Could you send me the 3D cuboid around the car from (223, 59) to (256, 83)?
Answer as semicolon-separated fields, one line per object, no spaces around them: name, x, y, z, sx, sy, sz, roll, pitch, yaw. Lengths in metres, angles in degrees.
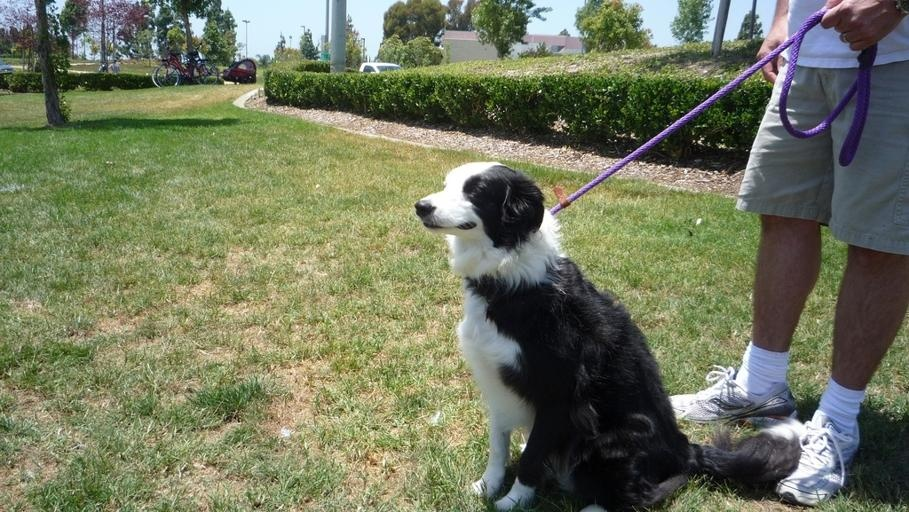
car;-9.857;-8.665;33.370;1.144;1.034;1.595;8;20;18
